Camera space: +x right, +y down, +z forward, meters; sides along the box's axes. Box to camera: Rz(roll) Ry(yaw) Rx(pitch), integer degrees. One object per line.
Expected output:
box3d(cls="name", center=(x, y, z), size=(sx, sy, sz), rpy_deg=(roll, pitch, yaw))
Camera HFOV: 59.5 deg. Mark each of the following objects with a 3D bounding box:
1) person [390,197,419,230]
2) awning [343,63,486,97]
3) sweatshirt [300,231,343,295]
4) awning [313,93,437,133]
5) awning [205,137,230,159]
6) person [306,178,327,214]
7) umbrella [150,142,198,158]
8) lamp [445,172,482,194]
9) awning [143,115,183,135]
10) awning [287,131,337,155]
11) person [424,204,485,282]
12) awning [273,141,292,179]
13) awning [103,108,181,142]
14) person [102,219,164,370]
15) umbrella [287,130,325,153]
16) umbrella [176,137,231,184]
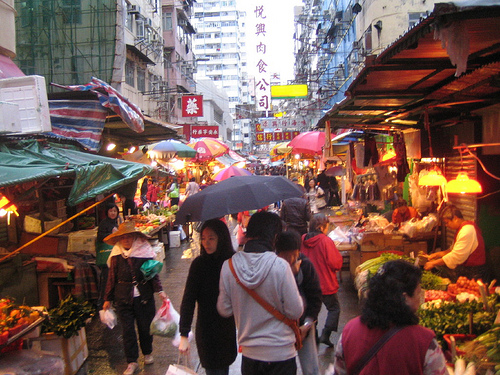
box3d(cls="person", center=(3.078, 0.511, 8.703), size=(0.521, 0.540, 0.702), rpy_deg=(-1, 1, 21))
box3d(cls="awning", center=(2.116, -1.474, 6.047), size=(1.465, 0.176, 1.299), rpy_deg=(-2, 1, -6))
box3d(cls="sweatshirt", center=(1.003, 1.074, 6.181), size=(0.562, 0.890, 0.329), rpy_deg=(-1, 1, 6))
box3d(cls="awning", center=(2.198, -1.343, 7.950), size=(1.704, 0.285, 2.846), rpy_deg=(-1, 1, 6))
box3d(cls="awning", center=(-1.319, -1.724, 18.735), size=(0.743, 0.924, 2.746), rpy_deg=(-1, 1, -3))
box3d(cls="person", center=(2.097, 0.239, 13.746), size=(0.574, 1.277, 0.561), rpy_deg=(-16, -26, 17))
box3d(cls="umbrella", center=(-2.360, -1.138, 13.139), size=(0.828, 0.297, 0.837), rpy_deg=(-4, 8, -33))
box3d(cls="lamp", center=(3.088, -0.055, 6.254), size=(0.324, 0.191, 0.323), rpy_deg=(-5, 4, -35))
box3d(cls="awning", center=(-2.097, -1.614, 11.322), size=(0.685, 0.266, 0.684), rpy_deg=(12, 4, -35))
box3d(cls="awning", center=(1.610, -1.278, 12.115), size=(0.920, 0.649, 1.105), rpy_deg=(-2, 1, -19))
box3d(cls="person", center=(3.221, 1.063, 6.924), size=(0.881, 1.537, 0.735), rpy_deg=(-3, 0, 5))
box3d(cls="awning", center=(1.573, -1.717, 21.678), size=(0.919, 1.116, 0.991), rpy_deg=(0, 4, 9))
box3d(cls="awning", center=(-2.722, -1.459, 11.041), size=(1.213, 0.258, 3.945), rpy_deg=(-1, 1, 6))
box3d(cls="person", center=(-1.714, 1.476, 6.287), size=(0.794, 1.981, 1.560), rpy_deg=(-2, 1, -17))
box3d(cls="umbrella", center=(1.579, -1.272, 12.087), size=(1.014, 0.578, 0.693), rpy_deg=(0, 2, 36))
box3d(cls="umbrella", center=(-1.901, -1.281, 17.783), size=(1.294, 1.439, 1.174), rpy_deg=(3, 5, 31))
